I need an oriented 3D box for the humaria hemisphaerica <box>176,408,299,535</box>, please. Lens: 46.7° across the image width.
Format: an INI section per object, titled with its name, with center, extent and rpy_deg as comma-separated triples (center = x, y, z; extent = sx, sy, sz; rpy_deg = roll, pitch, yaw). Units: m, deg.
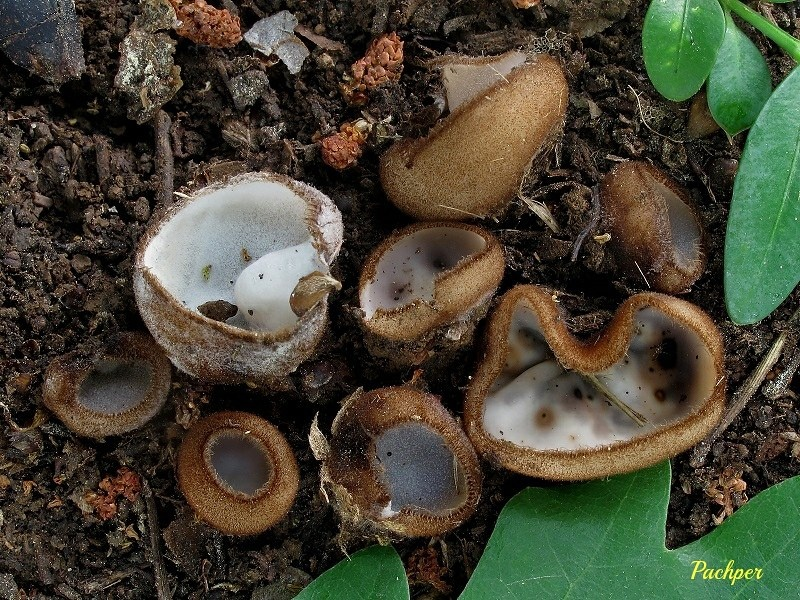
[humaria hemisphaerica]
center = -0.558, 0.587, 3.172
extent = 0.382, 0.144, 0.421
rpy_deg = -31, 79, -14
